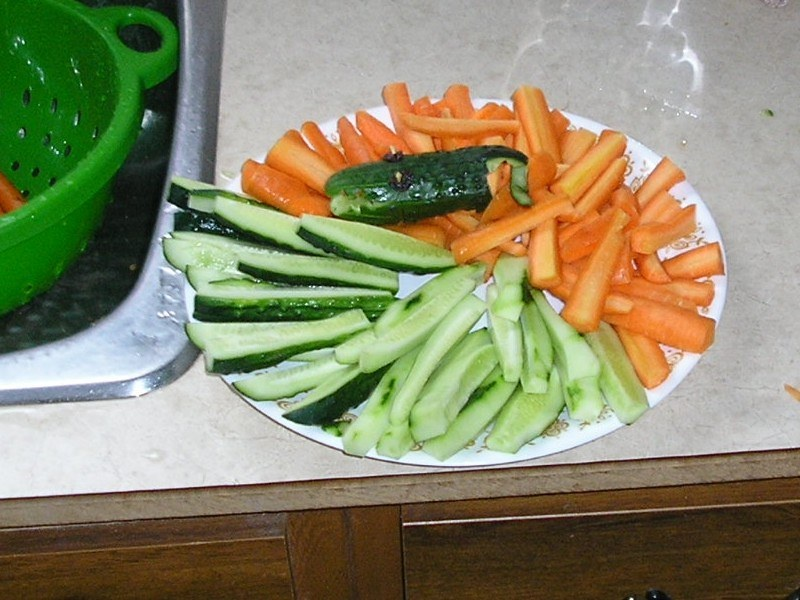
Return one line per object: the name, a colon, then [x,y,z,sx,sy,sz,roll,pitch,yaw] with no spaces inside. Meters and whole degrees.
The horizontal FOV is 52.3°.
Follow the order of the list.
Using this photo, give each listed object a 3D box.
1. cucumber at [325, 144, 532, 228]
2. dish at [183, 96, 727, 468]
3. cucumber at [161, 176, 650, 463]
cucumber: [0.037,-0.161,1.174,0.361,0.101,0.094,-9,49,-3]
dish: [-0.004,0.064,1.109,0.530,0.498,0.070,-24,42,20]
cucumber: [-0.035,0.066,1.110,0.577,0.127,0.335,31,68,6]
